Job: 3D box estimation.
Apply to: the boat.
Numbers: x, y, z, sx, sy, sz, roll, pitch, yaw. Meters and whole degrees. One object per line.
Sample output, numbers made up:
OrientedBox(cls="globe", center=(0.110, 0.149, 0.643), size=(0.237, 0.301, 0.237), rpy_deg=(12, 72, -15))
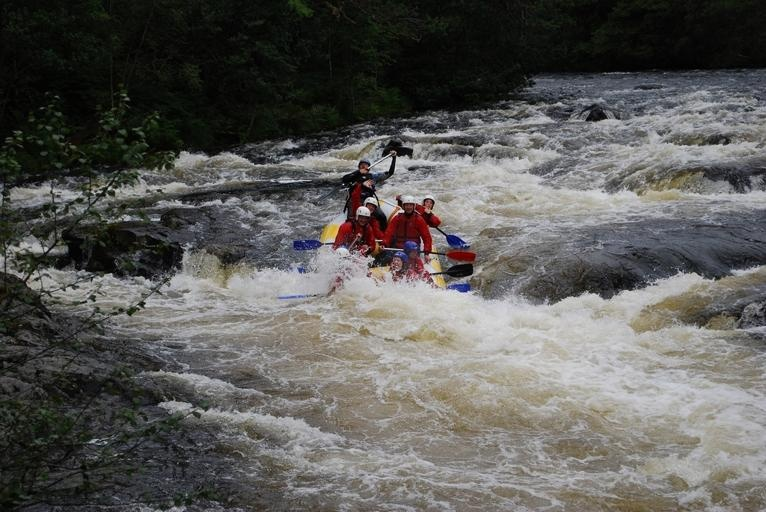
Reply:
OrientedBox(cls="boat", center=(0.022, -0.315, 15.080), size=(2.283, 1.519, 2.117), rpy_deg=(2, 8, -3))

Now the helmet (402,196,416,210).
OrientedBox(cls="helmet", center=(0.493, -1.052, 15.315), size=(0.252, 0.257, 0.237), rpy_deg=(2, 48, 2))

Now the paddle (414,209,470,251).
OrientedBox(cls="paddle", center=(1.205, -0.531, 16.502), size=(1.450, 0.229, 0.029), rpy_deg=(36, 11, -27))

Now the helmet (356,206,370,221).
OrientedBox(cls="helmet", center=(-0.380, -0.824, 14.893), size=(0.261, 0.235, 0.305), rpy_deg=(2, 8, -4))

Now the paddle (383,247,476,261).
OrientedBox(cls="paddle", center=(0.858, -0.044, 15.123), size=(2.257, 0.233, 0.164), rpy_deg=(3, -4, -10))

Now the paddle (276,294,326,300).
OrientedBox(cls="paddle", center=(-1.463, 0.738, 14.362), size=(0.721, 0.069, 0.089), rpy_deg=(-3, -4, -10))

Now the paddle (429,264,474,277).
OrientedBox(cls="paddle", center=(1.300, 0.270, 14.986), size=(0.800, 0.323, 0.720), rpy_deg=(3, 7, 4))

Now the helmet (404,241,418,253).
OrientedBox(cls="helmet", center=(0.515, -0.173, 14.517), size=(0.245, 0.186, 0.286), rpy_deg=(2, 8, -1))

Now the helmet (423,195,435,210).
OrientedBox(cls="helmet", center=(0.908, -1.090, 15.805), size=(0.254, 0.250, 0.289), rpy_deg=(14, -13, 3))

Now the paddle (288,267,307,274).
OrientedBox(cls="paddle", center=(-1.663, 0.273, 15.579), size=(0.276, 0.085, 0.613), rpy_deg=(0, 7, -16))
